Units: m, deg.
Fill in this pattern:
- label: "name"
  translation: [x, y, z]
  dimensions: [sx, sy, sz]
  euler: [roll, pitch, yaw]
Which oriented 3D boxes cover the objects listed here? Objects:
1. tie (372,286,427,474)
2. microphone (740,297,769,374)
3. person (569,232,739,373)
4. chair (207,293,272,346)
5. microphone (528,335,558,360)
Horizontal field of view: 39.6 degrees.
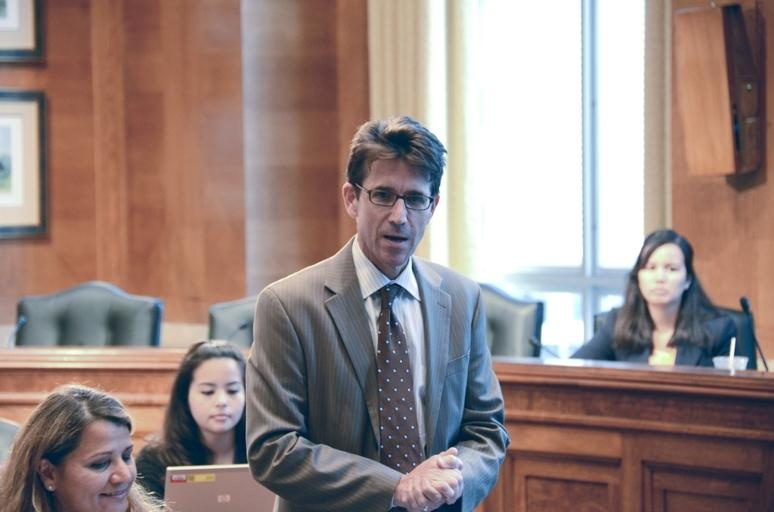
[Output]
- label: "tie"
  translation: [0.062, 0.557, 4.867]
  dimensions: [0.210, 0.826, 0.127]
  euler: [0, 0, -1]
- label: "microphone"
  translation: [2.175, 0.484, 6.333]
  dimensions: [0.035, 0.454, 0.040]
  euler: [-15, -22, 18]
- label: "person"
  translation: [1.681, 0.304, 6.349]
  dimensions: [0.976, 0.817, 0.544]
  euler: [6, -5, 20]
- label: "chair"
  translation: [-0.989, 0.426, 6.846]
  dimensions: [0.329, 0.520, 0.357]
  euler: [3, -4, -25]
- label: "microphone"
  translation: [0.981, 0.580, 6.729]
  dimensions: [0.066, 0.063, 0.422]
  euler: [15, 7, -16]
